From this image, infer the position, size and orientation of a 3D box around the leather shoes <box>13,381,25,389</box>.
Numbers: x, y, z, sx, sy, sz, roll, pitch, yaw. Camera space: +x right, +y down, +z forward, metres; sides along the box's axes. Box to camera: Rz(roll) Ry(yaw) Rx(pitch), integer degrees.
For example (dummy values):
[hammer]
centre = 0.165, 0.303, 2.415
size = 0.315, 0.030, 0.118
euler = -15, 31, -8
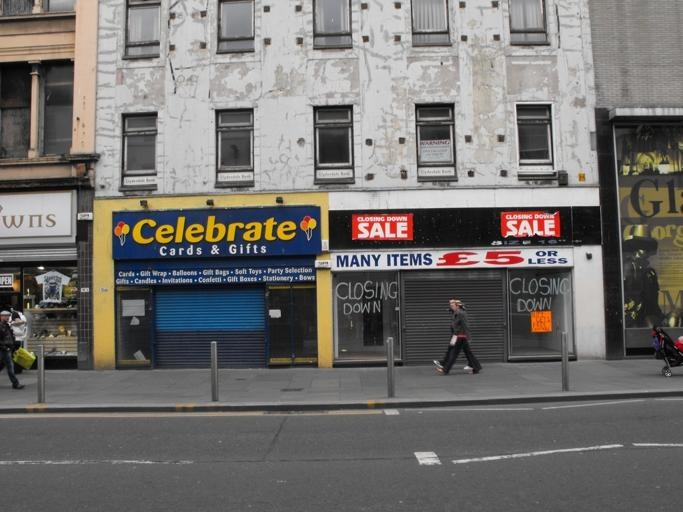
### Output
[leather shoes]
centre = -8.894, 3.591, 27.529
size = 0.371, 0.167, 0.125
euler = -3, 3, -12

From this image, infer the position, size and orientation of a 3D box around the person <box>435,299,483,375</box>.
[person]
centre = 3.365, 2.343, 28.749
size = 1.228, 2.089, 0.874
euler = -3, 0, 7

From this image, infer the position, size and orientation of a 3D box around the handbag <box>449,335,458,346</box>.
[handbag]
centre = 3.190, 2.405, 28.529
size = 0.164, 0.297, 0.355
euler = -4, 0, -20
